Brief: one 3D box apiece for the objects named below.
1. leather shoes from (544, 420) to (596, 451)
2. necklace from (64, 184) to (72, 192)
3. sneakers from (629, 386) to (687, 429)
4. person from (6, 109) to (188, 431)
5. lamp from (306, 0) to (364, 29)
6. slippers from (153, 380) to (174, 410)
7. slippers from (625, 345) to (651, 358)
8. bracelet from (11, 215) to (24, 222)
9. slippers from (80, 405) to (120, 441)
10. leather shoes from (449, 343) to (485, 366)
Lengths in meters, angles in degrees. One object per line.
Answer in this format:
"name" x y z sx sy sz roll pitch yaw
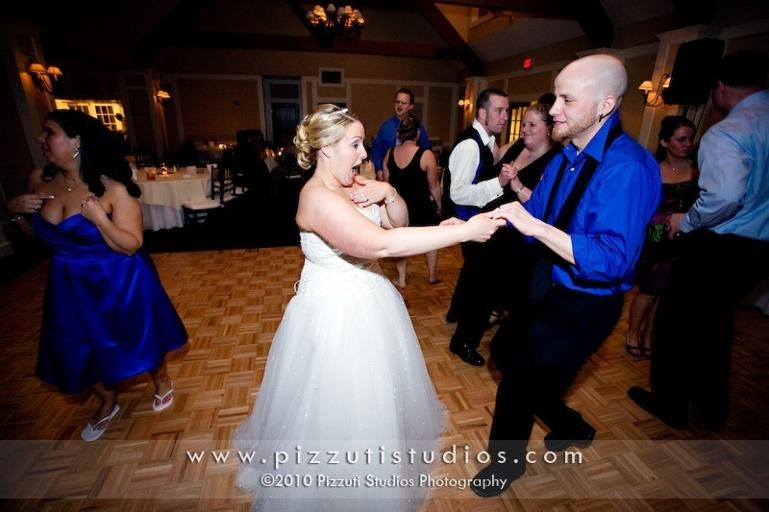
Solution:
"leather shoes" 1.440 1.405 3.551 0.448 0.182 0.190 -15 9 18
"necklace" -2.316 -0.502 3.284 0.041 0.042 0.012 1 1 -12
"sneakers" 2.215 1.222 3.741 0.162 0.191 0.475 -28 32 -18
"person" -2.185 -0.041 3.377 1.063 2.011 0.616 -8 19 -17
"lamp" -0.974 -4.314 8.149 0.948 0.375 0.931 -20 36 -41
"slippers" -1.838 1.134 3.736 0.128 0.085 0.237 -1 52 -3
"slippers" 2.390 0.893 4.237 0.209 0.082 0.057 14 -10 43
"bracelet" -2.706 -0.282 3.307 0.060 0.019 0.061 -2 0 8
"slippers" -2.259 1.330 3.602 0.131 0.087 0.300 20 41 9
"leather shoes" 0.759 0.895 4.161 0.323 0.140 0.150 22 47 20
